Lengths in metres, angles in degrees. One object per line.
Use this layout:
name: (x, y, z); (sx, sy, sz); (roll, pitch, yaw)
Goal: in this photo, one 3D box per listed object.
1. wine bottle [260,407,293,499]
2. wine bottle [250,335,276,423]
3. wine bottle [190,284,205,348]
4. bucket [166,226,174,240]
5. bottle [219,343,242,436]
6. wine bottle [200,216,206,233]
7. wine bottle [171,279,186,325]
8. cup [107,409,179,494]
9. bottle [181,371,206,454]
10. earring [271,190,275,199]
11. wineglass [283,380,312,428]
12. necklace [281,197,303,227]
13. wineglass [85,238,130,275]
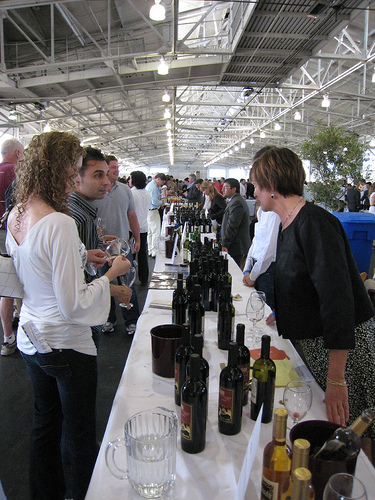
wine bottle: (0.141, 0.354, 0.647); (0.053, 0.190, 0.059); (1, 6, 0)
wine bottle: (0.201, 0.349, 0.991); (0.077, 0.249, 0.076); (2, 4, 0)
wine bottle: (0.039, 0.239, 1.377); (0.067, 0.208, 0.074); (3, 11, -12)
bucket: (-0.191, -0.201, 3.993); (0.086, 0.144, 0.085); (2, -3, 0)
bottle: (0.109, 0.355, 0.942); (0.057, 0.268, 0.082); (3, 5, 9)
wine bottle: (0.229, -0.346, 5.491); (0.084, 0.182, 0.247); (2, 5, 2)
wine bottle: (-0.033, 0.208, 1.502); (0.051, 0.188, 0.091); (1, 5, -9)
cup: (-0.078, 0.439, 0.804); (0.106, 0.153, 0.137); (2, 5, 3)
bottle: (0.018, 0.398, 0.891); (0.061, 0.196, 0.064); (2, 5, 0)
earring: (0.321, -0.206, 1.397); (0.013, 0.028, 0.020); (2, 5, -2)
wineglass: (0.268, 0.374, 0.960); (0.085, 0.117, 0.077); (2, 9, 0)
necklace: (0.372, -0.138, 1.316); (0.016, 0.147, 0.022); (17, 41, -8)
wineglass: (-0.369, 0.013, 1.824); (0.178, 0.176, 0.210); (3, 10, 2)
